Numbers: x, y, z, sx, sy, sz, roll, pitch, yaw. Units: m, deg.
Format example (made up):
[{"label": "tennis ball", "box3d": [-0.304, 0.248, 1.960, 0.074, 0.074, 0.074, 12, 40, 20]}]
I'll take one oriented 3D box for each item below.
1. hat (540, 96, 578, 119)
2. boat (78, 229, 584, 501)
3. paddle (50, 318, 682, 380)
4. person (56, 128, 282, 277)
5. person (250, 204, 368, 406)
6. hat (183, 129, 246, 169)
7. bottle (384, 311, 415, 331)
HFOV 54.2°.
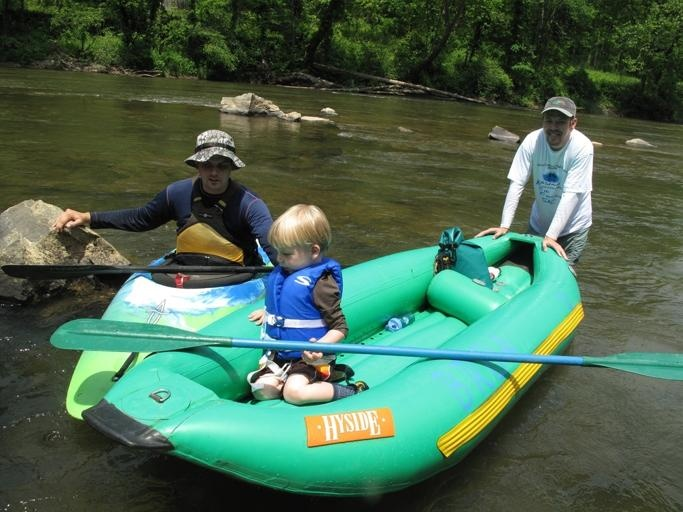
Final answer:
[{"label": "hat", "box3d": [1.864, -1.239, 5.591, 0.231, 0.122, 0.289, 15, -1, 26]}, {"label": "boat", "box3d": [0.336, 0.776, 4.479, 3.210, 0.522, 1.658, -11, 29, -34]}, {"label": "paddle", "box3d": [0.013, 0.628, 4.551, 4.707, 0.120, 0.445, 2, -2, 0]}, {"label": "person", "box3d": [-1.844, -0.563, 6.852, 3.058, 1.176, 0.841, 8, 13, 0]}, {"label": "person", "box3d": [-0.165, 0.328, 4.156, 0.756, 1.251, 0.534, 10, 22, 11]}, {"label": "hat", "box3d": [-0.920, -0.772, 4.927, 0.396, 0.177, 0.363, 0, -3, 2]}, {"label": "bottle", "box3d": [0.476, 0.506, 5.294, 0.120, 0.068, 0.185, -1, 19, 43]}]
